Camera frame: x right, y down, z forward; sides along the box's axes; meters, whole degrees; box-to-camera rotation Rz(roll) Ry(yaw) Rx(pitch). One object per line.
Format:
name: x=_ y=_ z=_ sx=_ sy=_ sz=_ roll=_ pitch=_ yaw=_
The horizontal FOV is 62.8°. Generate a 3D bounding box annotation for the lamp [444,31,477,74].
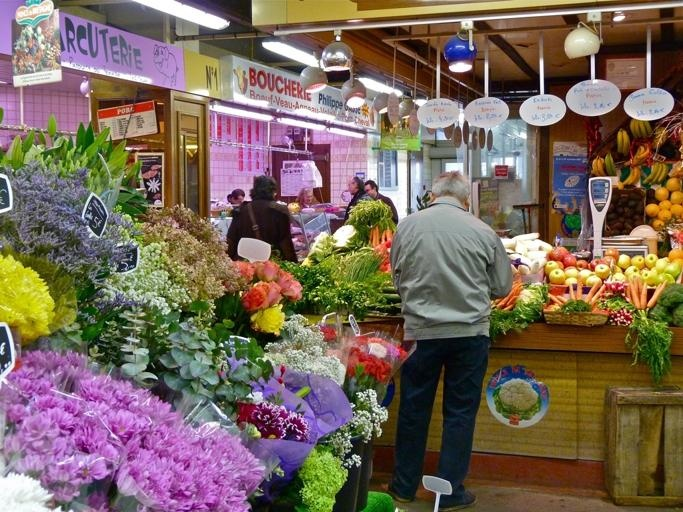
lamp: x=1.014 y=-1.774 z=4.788 sx=0.235 sy=0.359 sz=0.360 roll=5 pitch=5 yaw=14

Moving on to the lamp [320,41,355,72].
lamp: x=-0.056 y=-1.703 z=4.902 sx=0.288 sy=0.297 sz=0.300 roll=-1 pitch=2 yaw=8

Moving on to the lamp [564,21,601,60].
lamp: x=1.967 y=-1.779 z=4.555 sx=0.232 sy=0.331 sz=0.384 roll=7 pitch=6 yaw=26

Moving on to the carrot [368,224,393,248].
carrot: x=0.291 y=-0.153 z=4.304 sx=0.160 sy=0.172 sz=0.050 roll=2 pitch=-8 yaw=9

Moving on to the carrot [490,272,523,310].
carrot: x=1.170 y=0.248 z=3.823 sx=0.306 sy=0.174 sz=0.090 roll=-24 pitch=-10 yaw=-41
